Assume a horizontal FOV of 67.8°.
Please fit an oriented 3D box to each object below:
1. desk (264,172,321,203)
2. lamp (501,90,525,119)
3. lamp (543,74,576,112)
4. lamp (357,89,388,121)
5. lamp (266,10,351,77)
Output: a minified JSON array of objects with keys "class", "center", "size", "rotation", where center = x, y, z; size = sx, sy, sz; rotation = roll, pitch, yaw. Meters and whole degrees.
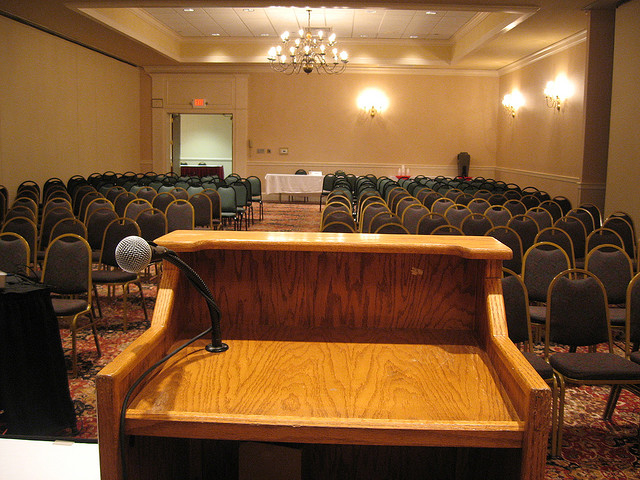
[{"class":"desk","center":[-0.841,-1.506,13.947],"size":[1.758,0.915,2.688],"rotation":[0,11,-3]},{"class":"lamp","center":[5.504,-3.851,13.465],"size":[0.191,0.622,0.785],"rotation":[-5,13,-2]},{"class":"lamp","center":[5.517,-3.408,10.925],"size":[0.222,0.660,0.614],"rotation":[15,-1,-23]},{"class":"lamp","center":[1.678,-4.283,15.072],"size":[0.774,0.872,0.813],"rotation":[3,3,2]},{"class":"lamp","center":[-0.288,-4.964,12.592],"size":[1.717,1.186,1.807],"rotation":[2,6,12]}]
